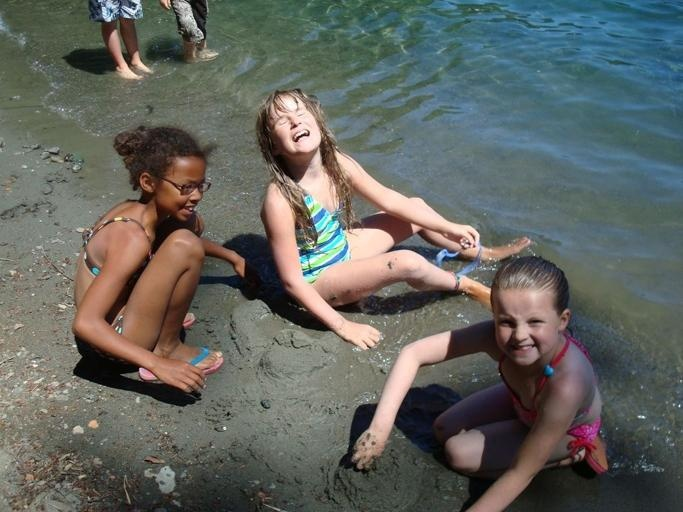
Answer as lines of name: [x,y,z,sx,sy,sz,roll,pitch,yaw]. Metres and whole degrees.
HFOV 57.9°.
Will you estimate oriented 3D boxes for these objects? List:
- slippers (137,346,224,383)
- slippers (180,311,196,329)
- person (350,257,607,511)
slippers: [-0.992,0.665,3.777,0.512,0.122,0.174,-14,55,-29]
slippers: [-1.034,0.430,4.157,0.066,0.154,0.053,-2,88,-3]
person: [0.746,0.659,3.261,0.994,1.173,0.986,20,50,16]
